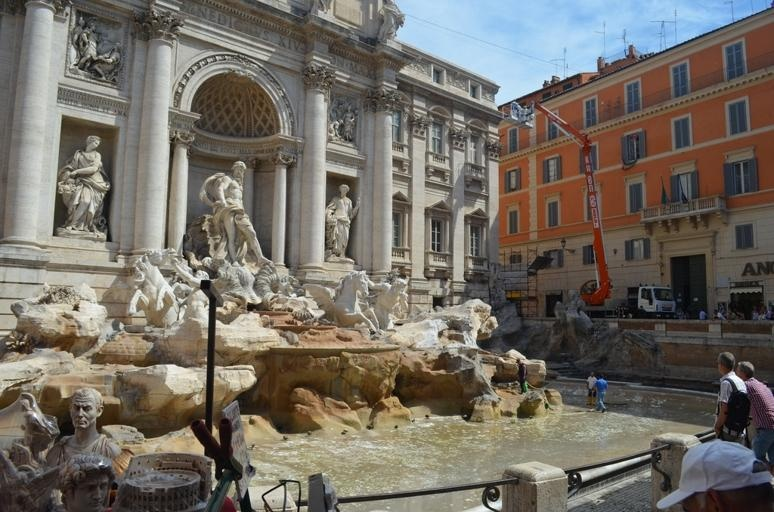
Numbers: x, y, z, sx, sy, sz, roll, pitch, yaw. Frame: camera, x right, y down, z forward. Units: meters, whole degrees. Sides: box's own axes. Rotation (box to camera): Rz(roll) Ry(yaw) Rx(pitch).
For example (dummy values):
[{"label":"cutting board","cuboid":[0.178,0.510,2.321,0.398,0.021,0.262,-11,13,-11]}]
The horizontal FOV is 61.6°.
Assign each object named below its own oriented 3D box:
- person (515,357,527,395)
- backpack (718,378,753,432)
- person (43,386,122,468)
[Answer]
[{"label":"person","cuboid":[4.976,4.460,23.970,0.457,1.023,1.548,3,-4,12]},{"label":"backpack","cuboid":[6.810,2.927,12.711,0.688,1.042,0.243,5,-4,-20]},{"label":"person","cuboid":[-4.962,2.824,10.704,1.133,1.236,0.381,4,-3,-8]}]
